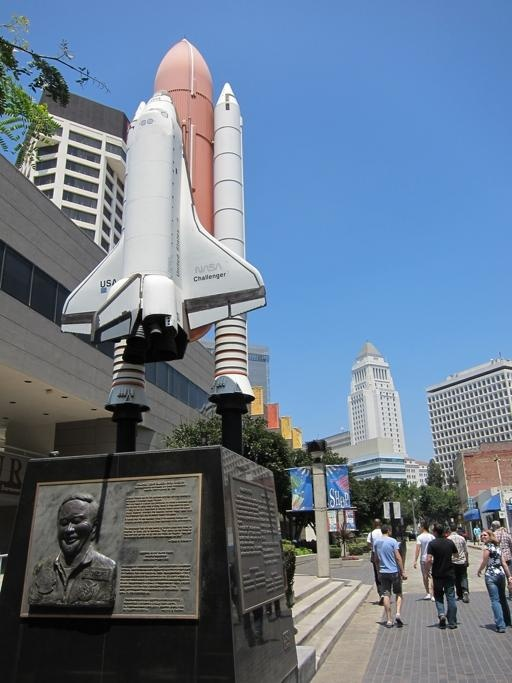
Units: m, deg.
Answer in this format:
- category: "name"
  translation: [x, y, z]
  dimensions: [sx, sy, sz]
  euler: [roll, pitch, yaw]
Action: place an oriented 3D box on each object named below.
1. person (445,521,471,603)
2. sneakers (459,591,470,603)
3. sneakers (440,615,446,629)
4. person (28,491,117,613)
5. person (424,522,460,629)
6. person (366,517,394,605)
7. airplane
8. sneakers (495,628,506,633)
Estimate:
- category: "person"
  translation: [4.920, 5.189, 11.436]
  dimensions: [0.518, 1.731, 0.517]
  euler: [-3, 11, -4]
- category: "sneakers"
  translation: [5.027, 6.179, 11.460]
  dimensions: [0.132, 0.196, 0.412]
  euler: [-2, -22, 12]
- category: "sneakers"
  translation: [3.327, 5.008, 8.494]
  dimensions: [0.080, 0.298, 0.118]
  euler: [-2, 11, 5]
- category: "person"
  translation: [-1.769, 2.071, 4.682]
  dimensions: [0.948, 1.058, 0.327]
  euler: [-12, -18, 26]
- category: "person"
  translation: [3.317, 4.151, 8.523]
  dimensions: [0.537, 1.708, 0.504]
  euler: [6, -13, -22]
- category: "person"
  translation: [3.099, 5.456, 11.789]
  dimensions: [0.685, 2.518, 0.691]
  euler: [-5, 10, 13]
- category: "airplane"
  translation: [-2.063, -2.747, 9.831]
  dimensions: [3.840, 6.565, 1.777]
  euler: [-8, -16, 16]
- category: "sneakers"
  translation: [4.125, 4.866, 8.019]
  dimensions: [0.066, 0.092, 0.198]
  euler: [2, -30, 3]
